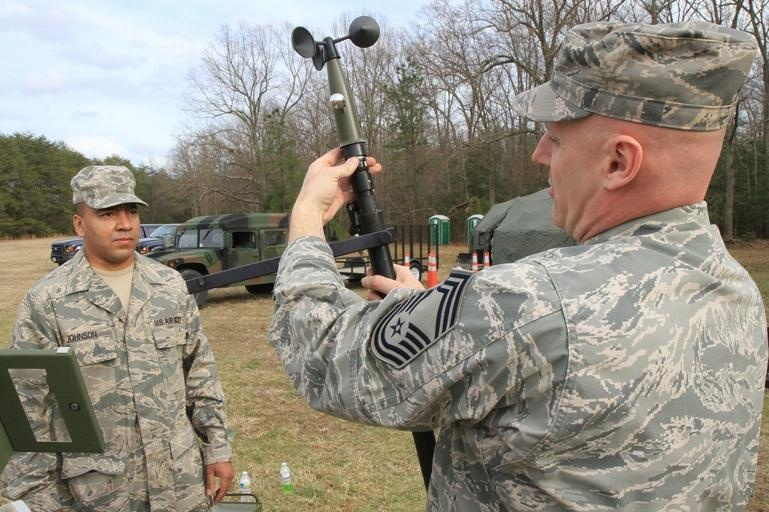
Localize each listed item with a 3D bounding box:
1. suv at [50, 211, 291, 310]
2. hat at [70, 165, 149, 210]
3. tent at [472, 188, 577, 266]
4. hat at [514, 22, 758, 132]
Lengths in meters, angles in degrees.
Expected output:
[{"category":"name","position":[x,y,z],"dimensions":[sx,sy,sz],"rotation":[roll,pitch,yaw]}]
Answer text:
[{"category":"suv","position":[-3.235,-0.221,14.202],"dimensions":[3.821,1.952,2.393],"rotation":[-1,1,-35]},{"category":"hat","position":[-1.540,-0.396,4.314],"dimensions":[0.469,0.235,0.357],"rotation":[5,6,35]},{"category":"tent","position":[2.575,-0.501,14.434],"dimensions":[1.591,0.869,1.963],"rotation":[-7,14,5]},{"category":"hat","position":[0.798,-0.609,2.536],"dimensions":[0.753,0.282,0.547],"rotation":[11,23,25]}]
